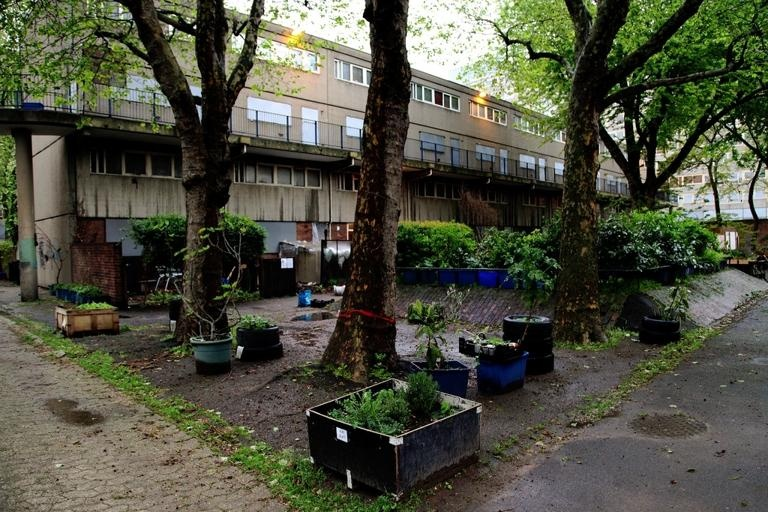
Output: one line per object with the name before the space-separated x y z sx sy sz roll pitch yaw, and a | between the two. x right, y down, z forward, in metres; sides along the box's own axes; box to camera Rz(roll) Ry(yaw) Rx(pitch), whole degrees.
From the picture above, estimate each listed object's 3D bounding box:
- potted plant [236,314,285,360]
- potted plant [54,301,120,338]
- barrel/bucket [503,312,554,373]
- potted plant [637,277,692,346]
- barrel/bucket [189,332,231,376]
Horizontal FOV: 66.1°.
potted plant | -3.481 2.417 16.444 1.202 0.871 1.200 -4 3 -29
potted plant | -9.672 2.003 18.974 1.858 0.885 1.902 9 5 31
barrel/bucket | 3.939 2.454 15.696 1.131 1.302 1.167 -5 -2 0
potted plant | 8.109 1.798 17.444 0.742 1.398 0.763 -2 11 4
barrel/bucket | -4.447 2.656 15.493 1.116 0.888 1.131 -3 -5 0
